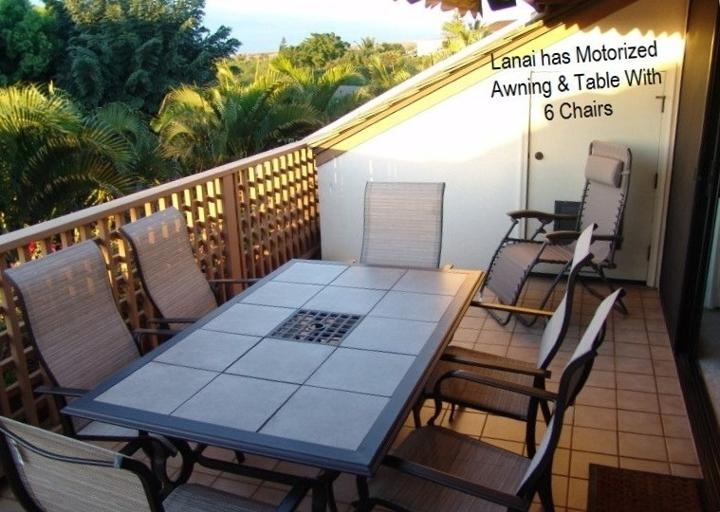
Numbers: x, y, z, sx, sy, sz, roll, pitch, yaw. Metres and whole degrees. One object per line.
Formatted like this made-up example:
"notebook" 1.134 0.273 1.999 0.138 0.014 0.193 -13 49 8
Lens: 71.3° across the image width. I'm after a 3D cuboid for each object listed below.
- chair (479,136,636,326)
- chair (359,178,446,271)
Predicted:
"chair" 2.127 -0.325 5.337 1.678 2.166 1.289 -7 21 -10
"chair" 0.400 -0.291 4.742 0.726 1.139 0.815 4 21 12
